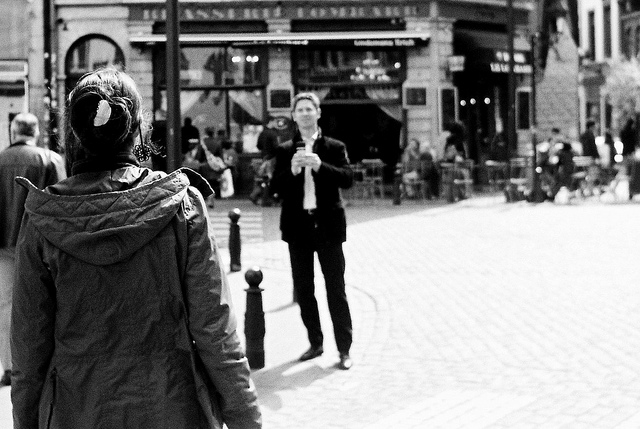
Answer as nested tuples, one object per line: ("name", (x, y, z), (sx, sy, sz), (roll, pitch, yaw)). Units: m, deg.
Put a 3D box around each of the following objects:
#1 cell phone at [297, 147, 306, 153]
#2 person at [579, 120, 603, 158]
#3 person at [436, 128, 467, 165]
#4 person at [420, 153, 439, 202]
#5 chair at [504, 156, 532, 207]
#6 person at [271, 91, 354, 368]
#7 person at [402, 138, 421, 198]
("cell phone", (-0.198, -0.692, 12.638), (0.062, 0.061, 0.015), (-2, -3, -4))
("person", (5.974, -1.581, 25.866), (0.505, 0.850, 2.534), (1, 9, 13))
("person", (3.373, -1.796, 30.239), (0.691, 0.738, 2.217), (-1, 9, 3))
("person", (2.703, -0.774, 28.688), (0.432, 0.768, 0.238), (-2, 8, -2))
("chair", (4.673, -0.911, 27.650), (0.602, 1.157, 3.025), (0, 9, 9))
("person", (-0.081, 0.153, 12.875), (0.854, 2.942, 0.595), (0, 8, 10))
("person", (2.291, -1.141, 29.334), (0.416, 1.300, 1.297), (-1, 9, 5))
